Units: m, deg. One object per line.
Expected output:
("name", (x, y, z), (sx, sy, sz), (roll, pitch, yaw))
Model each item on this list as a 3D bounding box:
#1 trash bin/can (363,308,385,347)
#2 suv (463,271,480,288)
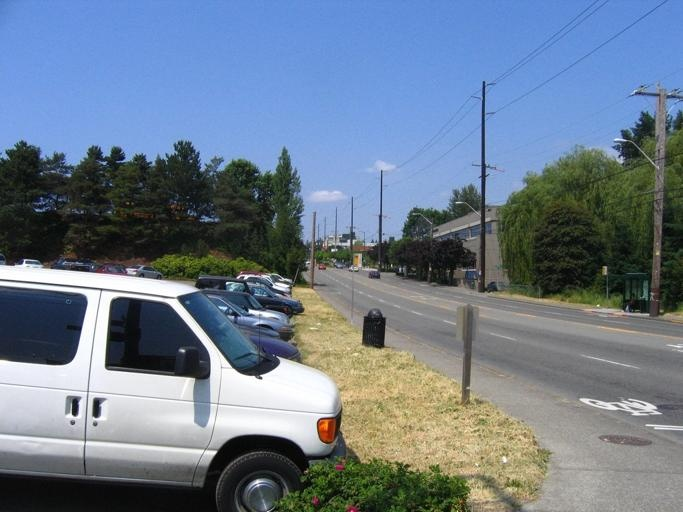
("trash bin/can", (0.862, 2.047, 17.602), (0.626, 1.107, 0.702), (2, 0, 8))
("suv", (15.304, 2.798, 73.690), (1.718, 1.845, 0.982), (-1, -5, 24))
